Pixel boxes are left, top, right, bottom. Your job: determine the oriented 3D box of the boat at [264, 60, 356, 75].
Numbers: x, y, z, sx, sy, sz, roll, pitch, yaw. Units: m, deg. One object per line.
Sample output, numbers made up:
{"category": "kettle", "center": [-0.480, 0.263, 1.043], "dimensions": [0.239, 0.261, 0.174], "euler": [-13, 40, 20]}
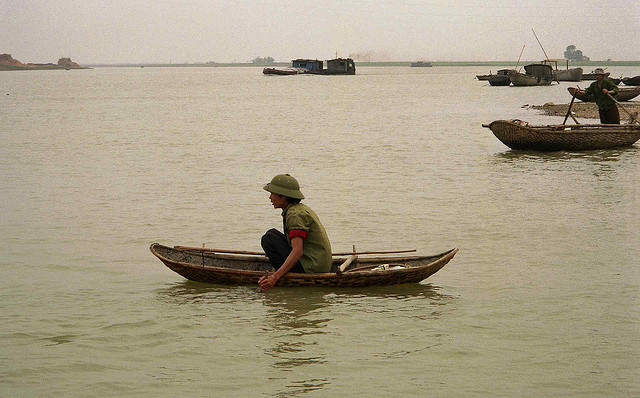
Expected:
{"category": "boat", "center": [-1.560, -19.056, 159.526], "dimensions": [13.090, 2.894, 16.926], "euler": [-1, 11, 1]}
